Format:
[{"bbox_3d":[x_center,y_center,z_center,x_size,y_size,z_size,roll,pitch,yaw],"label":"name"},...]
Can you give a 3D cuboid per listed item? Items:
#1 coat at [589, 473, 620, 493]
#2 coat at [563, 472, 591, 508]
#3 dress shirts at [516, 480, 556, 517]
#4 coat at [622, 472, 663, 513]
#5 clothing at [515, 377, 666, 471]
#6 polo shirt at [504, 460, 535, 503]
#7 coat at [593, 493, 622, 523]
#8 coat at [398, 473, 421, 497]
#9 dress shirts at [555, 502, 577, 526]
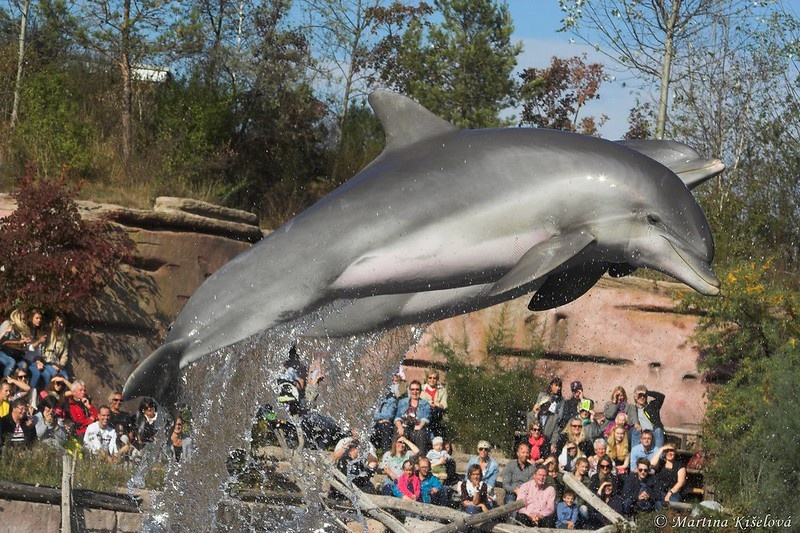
[{"bbox_3d":[3.582,3.704,22.301,0.620,0.370,0.204,14,-13,-31],"label":"coat"},{"bbox_3d":[3.024,3.729,21.906,0.533,0.520,0.490,5,-11,8],"label":"coat"},{"bbox_3d":[2.392,3.932,22.115,0.600,0.630,0.373,6,10,28],"label":"dress shirts"},{"bbox_3d":[4.174,3.985,22.280,0.588,0.913,0.516,5,-3,4],"label":"coat"},{"bbox_3d":[3.682,2.485,23.984,2.749,1.556,1.045,20,-13,19],"label":"clothing"},{"bbox_3d":[2.073,3.701,22.348,0.531,0.783,0.499,4,-3,15],"label":"polo shirt"},{"bbox_3d":[3.548,4.091,21.858,0.502,0.436,0.671,5,-11,9],"label":"coat"},{"bbox_3d":[0.179,3.712,22.043,0.275,0.419,0.152,-1,3,14],"label":"coat"},{"bbox_3d":[2.813,4.233,22.114,0.409,0.580,0.321,3,-14,0],"label":"dress shirts"}]
